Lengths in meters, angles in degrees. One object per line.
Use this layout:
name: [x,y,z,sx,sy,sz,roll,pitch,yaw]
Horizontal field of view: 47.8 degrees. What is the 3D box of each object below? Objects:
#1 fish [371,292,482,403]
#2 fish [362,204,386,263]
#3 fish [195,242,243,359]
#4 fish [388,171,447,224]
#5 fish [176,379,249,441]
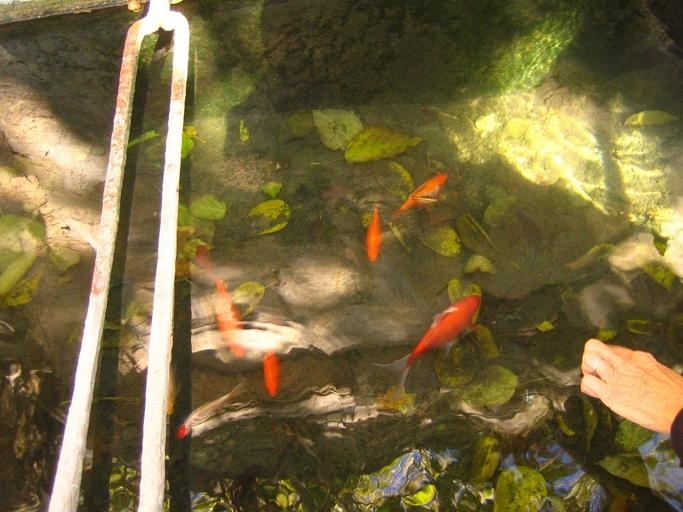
fish: [0.562,0.592,4.905,0.422,0.793,0.372,52,8,21]
fish: [0.205,-0.136,4.887,0.095,0.131,0.346,2,92,-2]
fish: [-0.766,0.309,4.805,0.123,0.252,0.665,-19,79,-10]
fish: [0.482,-0.363,4.948,0.377,0.084,0.191,-37,102,3]
fish: [-0.778,0.957,4.687,0.385,0.164,0.077,-36,87,-13]
